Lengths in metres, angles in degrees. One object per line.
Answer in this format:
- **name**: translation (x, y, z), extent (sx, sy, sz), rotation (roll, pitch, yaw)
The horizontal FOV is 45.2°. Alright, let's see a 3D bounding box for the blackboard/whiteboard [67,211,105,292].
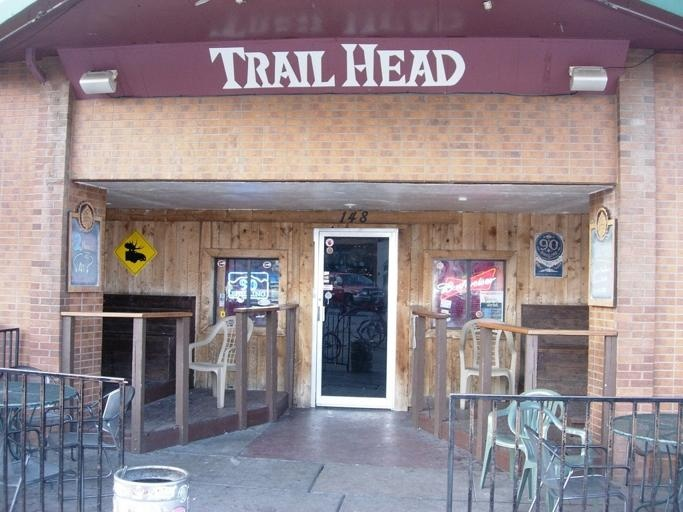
- **blackboard/whiteboard**: translation (-3.066, -0.055, 9.838), extent (0.161, 0.953, 0.619), rotation (3, 9, 16)

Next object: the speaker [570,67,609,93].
- **speaker**: translation (2.721, -1.967, 9.032), extent (0.450, 0.275, 0.230), rotation (1, 9, 3)

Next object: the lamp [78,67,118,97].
- **lamp**: translation (-2.765, -1.995, 9.360), extent (0.373, 0.264, 0.281), rotation (-1, 33, 13)

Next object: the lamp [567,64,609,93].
- **lamp**: translation (2.688, -1.938, 8.952), extent (0.359, 0.276, 0.255), rotation (3, -31, 5)

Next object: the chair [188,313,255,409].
- **chair**: translation (-1.855, 1.403, 11.168), extent (0.807, 1.097, 0.777), rotation (4, 1, -28)

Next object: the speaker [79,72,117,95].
- **speaker**: translation (-2.762, -1.991, 9.333), extent (0.347, 0.239, 0.263), rotation (-2, 32, 14)

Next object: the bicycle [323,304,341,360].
- **bicycle**: translation (-0.136, 1.154, 11.949), extent (0.389, 0.629, 0.284), rotation (6, 4, 6)
